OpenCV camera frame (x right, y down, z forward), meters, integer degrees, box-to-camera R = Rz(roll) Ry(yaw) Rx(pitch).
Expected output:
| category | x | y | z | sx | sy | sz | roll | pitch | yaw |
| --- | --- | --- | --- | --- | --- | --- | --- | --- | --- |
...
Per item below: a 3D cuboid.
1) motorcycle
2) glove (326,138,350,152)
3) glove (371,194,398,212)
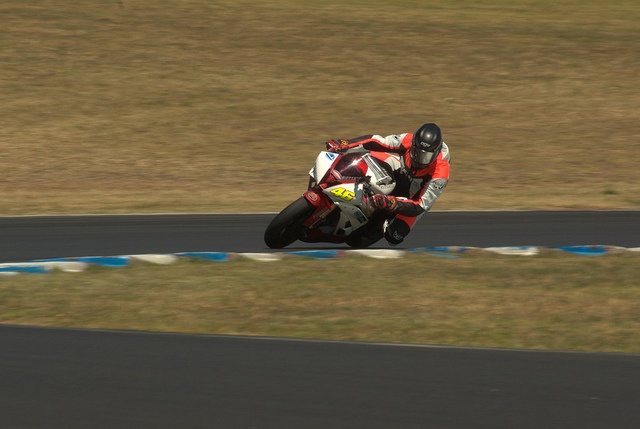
| category | x | y | z | sx | sy | sz | roll | pitch | yaw |
| --- | --- | --- | --- | --- | --- | --- | --- | --- | --- |
| motorcycle | 0.324 | -0.171 | 10.596 | 1.780 | 1.527 | 0.781 | -9 | 29 | -37 |
| glove | 0.288 | -1.039 | 10.743 | 0.327 | 0.085 | 0.295 | 4 | 0 | 10 |
| glove | 0.931 | -0.169 | 10.122 | 0.243 | 0.262 | 0.407 | 19 | 22 | 30 |
